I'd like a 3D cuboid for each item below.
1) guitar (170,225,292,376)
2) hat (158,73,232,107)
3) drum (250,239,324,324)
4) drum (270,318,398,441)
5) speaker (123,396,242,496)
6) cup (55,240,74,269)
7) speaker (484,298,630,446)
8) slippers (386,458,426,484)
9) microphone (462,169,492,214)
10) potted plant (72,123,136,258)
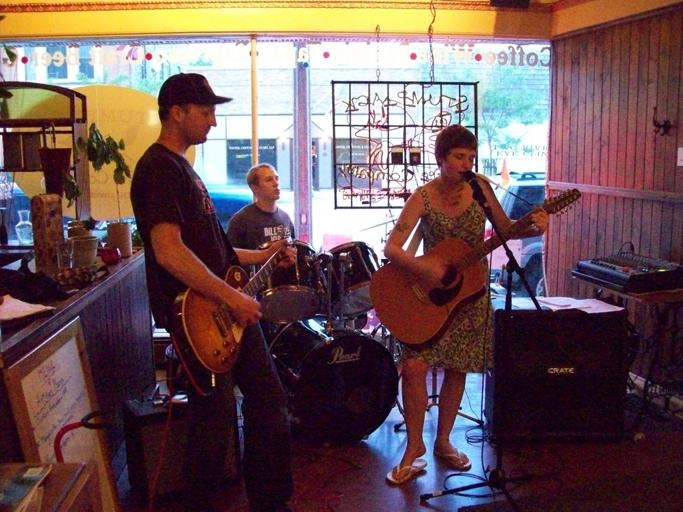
[{"bbox_3d":[-0.541,0.236,2.942,0.103,0.372,0.835,-3,31,32],"label":"guitar"},{"bbox_3d":[-0.695,-0.767,2.833,0.363,0.161,0.258,0,14,-3],"label":"hat"},{"bbox_3d":[-0.369,0.130,3.872,0.417,0.440,0.428,-10,51,-1],"label":"drum"},{"bbox_3d":[-0.009,0.702,4.112,0.748,0.900,0.787,-9,16,-6],"label":"drum"},{"bbox_3d":[-0.817,0.960,3.077,0.579,0.621,0.342,-1,3,-23],"label":"speaker"},{"bbox_3d":[-1.490,-0.012,3.267,0.054,0.151,0.132,0,9,0],"label":"cup"},{"bbox_3d":[1.374,0.693,4.017,0.806,0.841,0.649,0,9,11],"label":"speaker"},{"bbox_3d":[0.369,1.213,3.517,0.200,0.064,0.108,-10,6,-32],"label":"slippers"},{"bbox_3d":[0.663,-0.344,3.131,0.078,0.072,0.276,37,25,-44],"label":"microphone"},{"bbox_3d":[-1.646,-0.488,4.248,0.309,0.825,1.643,-3,10,-19],"label":"potted plant"}]
